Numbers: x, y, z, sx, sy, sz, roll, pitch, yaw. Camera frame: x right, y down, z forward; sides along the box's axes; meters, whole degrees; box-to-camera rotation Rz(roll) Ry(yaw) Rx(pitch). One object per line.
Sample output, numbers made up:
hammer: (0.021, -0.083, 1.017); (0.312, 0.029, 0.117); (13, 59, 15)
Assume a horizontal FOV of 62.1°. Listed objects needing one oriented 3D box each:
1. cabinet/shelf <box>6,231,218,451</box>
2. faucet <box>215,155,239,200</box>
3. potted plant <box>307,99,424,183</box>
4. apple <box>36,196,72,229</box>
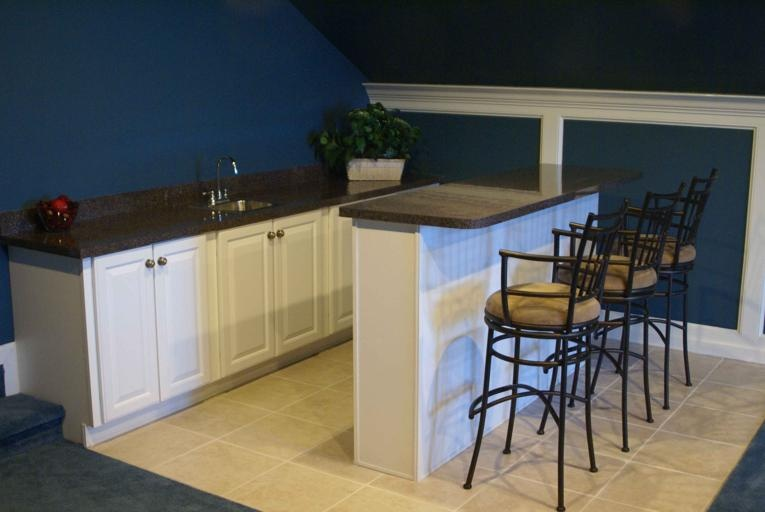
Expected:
cabinet/shelf: (-1.689, 0.503, 3.813); (1.003, 1.400, 1.041); (6, 13, 24)
faucet: (-1.188, -0.604, 4.815); (0.186, 0.334, 0.451); (-5, 18, -11)
potted plant: (-0.131, -0.979, 5.713); (0.801, 0.501, 0.750); (-4, 10, 2)
apple: (-1.977, -0.257, 3.831); (0.209, 0.144, 0.212); (0, 13, -16)
